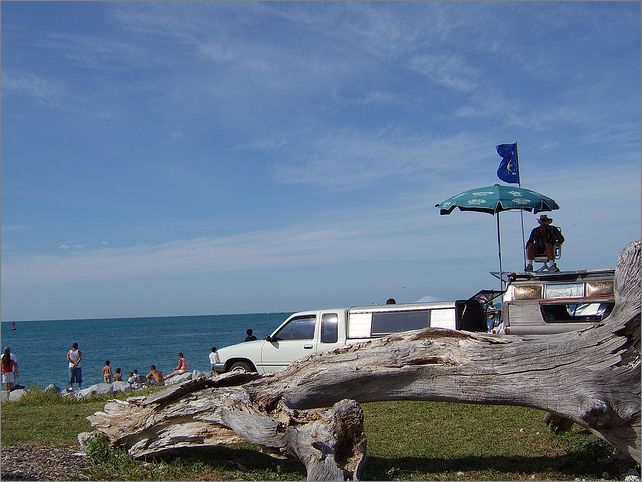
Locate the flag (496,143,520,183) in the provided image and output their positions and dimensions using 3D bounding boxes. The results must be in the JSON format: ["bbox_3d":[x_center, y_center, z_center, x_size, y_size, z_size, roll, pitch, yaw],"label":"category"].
[{"bbox_3d":[6.230,-2.648,17.906,0.688,1.038,1.266,-6,1,18],"label":"flag"}]
